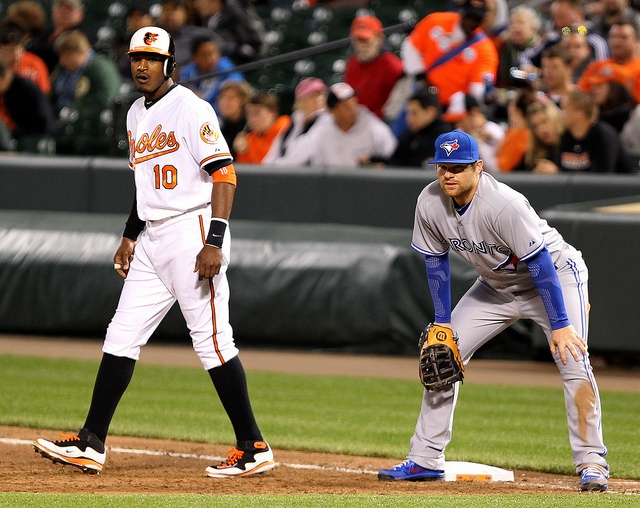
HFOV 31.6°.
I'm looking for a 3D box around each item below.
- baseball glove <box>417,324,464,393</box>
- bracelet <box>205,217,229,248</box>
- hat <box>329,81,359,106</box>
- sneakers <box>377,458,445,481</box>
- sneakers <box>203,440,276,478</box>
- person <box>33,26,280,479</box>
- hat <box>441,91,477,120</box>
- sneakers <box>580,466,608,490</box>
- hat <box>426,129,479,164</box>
[{"bbox_3d":[0.744,0.653,6.962,0.256,0.401,0.185,-9,-9,16],"label":"baseball glove"},{"bbox_3d":[-0.627,-0.123,6.797,0.149,0.184,0.088,-2,11,-24],"label":"bracelet"},{"bbox_3d":[0.237,-1.637,11.606,0.271,0.234,0.217,0,-3,15],"label":"hat"},{"bbox_3d":[0.561,1.371,7.131,0.434,0.194,0.150,4,-2,-5],"label":"sneakers"},{"bbox_3d":[-0.484,1.263,6.996,0.524,0.233,0.173,-3,4,-6],"label":"sneakers"},{"bbox_3d":[-0.939,-0.007,6.950,1.242,2.709,0.588,2,10,-4],"label":"person"},{"bbox_3d":[1.444,-1.491,11.573,0.275,0.308,0.412,-5,13,-37],"label":"hat"},{"bbox_3d":[1.670,1.359,6.837,0.166,0.149,0.137,4,10,7],"label":"sneakers"},{"bbox_3d":[0.809,-0.627,6.744,0.288,0.200,0.174,3,10,5],"label":"hat"}]
